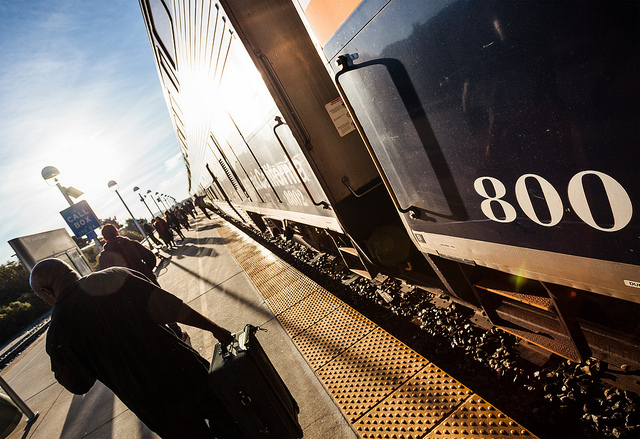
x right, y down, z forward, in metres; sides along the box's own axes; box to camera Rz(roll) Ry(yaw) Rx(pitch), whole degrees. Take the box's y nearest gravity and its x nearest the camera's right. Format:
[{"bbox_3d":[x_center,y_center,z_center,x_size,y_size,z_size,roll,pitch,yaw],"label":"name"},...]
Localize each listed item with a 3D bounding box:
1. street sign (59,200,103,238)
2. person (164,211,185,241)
[{"bbox_3d":[-7.083,0.029,10.663,0.938,0.843,0.118,-44,25,-29],"label":"street sign"},{"bbox_3d":[-7.770,0.368,19.366,0.567,2.115,0.593,-31,56,-6],"label":"person"}]
